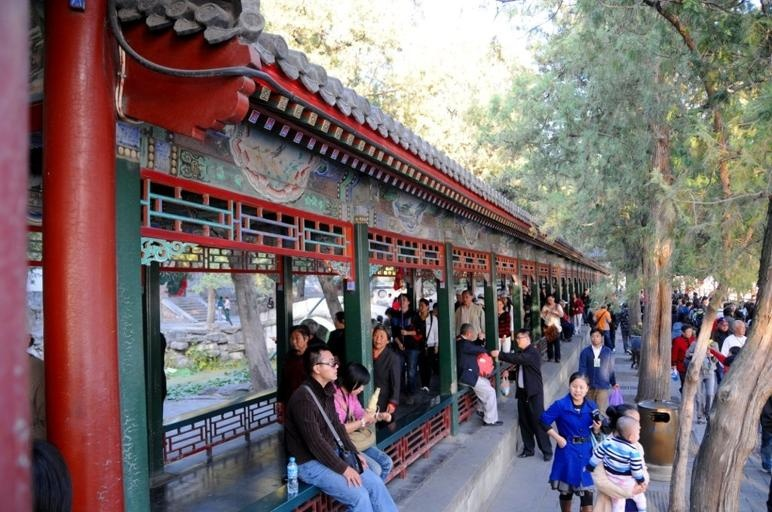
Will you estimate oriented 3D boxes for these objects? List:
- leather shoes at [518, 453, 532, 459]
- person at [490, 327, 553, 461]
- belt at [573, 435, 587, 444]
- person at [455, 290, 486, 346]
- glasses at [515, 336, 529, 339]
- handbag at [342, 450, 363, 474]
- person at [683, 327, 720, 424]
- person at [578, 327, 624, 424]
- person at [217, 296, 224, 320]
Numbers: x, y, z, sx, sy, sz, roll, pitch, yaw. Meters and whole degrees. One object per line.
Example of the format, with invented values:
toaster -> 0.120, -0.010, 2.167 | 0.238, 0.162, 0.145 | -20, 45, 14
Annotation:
leather shoes -> 2.340, 3.316, 9.388 | 0.255, 0.116, 0.089 | 2, -3, -10
person -> 2.298, 2.251, 9.058 | 0.696, 2.157, 1.023 | -2, -4, 19
belt -> 2.233, 2.102, 6.449 | 0.102, 0.084, 0.045 | 0, -5, -1
person -> 1.672, 1.236, 11.302 | 0.608, 1.186, 0.353 | 1, 15, 17
glasses -> 2.170, 1.266, 8.836 | 0.163, 0.056, 0.149 | -2, -5, 14
handbag -> -0.311, 1.929, 5.346 | 0.172, 0.231, 0.081 | 3, 20, 38
person -> 5.996, 2.356, 10.608 | 0.532, 1.588, 1.832 | -3, -5, 30
person -> 3.690, 2.231, 9.723 | 0.628, 1.887, 0.549 | 0, 11, 19
person -> -9.956, 3.099, 33.908 | 0.399, 1.398, 1.409 | 0, -4, -17
